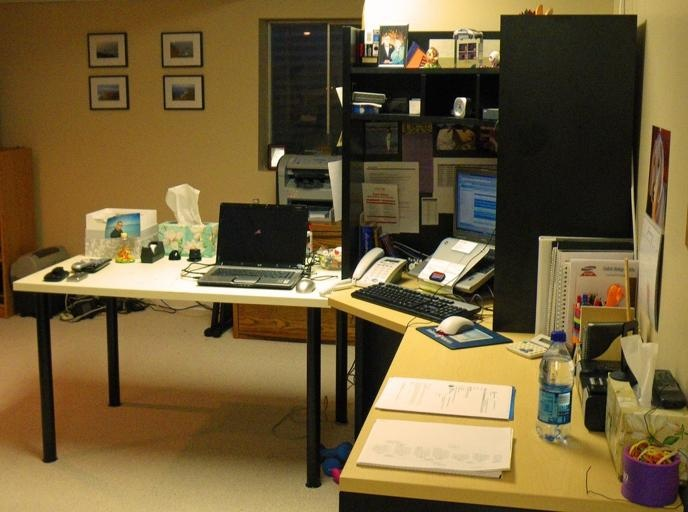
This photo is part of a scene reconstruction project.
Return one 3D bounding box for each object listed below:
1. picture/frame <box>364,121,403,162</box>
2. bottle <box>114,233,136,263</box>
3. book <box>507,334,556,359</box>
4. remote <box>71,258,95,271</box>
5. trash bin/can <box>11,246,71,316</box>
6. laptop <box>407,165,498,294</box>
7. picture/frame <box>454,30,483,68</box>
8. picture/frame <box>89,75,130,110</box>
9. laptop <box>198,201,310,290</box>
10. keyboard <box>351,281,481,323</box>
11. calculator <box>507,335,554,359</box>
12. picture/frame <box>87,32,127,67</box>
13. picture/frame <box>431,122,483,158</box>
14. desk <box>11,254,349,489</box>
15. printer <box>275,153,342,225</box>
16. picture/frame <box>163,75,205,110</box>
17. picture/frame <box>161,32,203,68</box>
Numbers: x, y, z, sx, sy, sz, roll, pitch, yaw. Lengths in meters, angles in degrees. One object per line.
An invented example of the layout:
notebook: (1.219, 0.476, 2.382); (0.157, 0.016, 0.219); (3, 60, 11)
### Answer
picture/frame: (0.217, -0.615, 3.110); (0.196, 0.210, 0.020); (1, 3, 5)
bottle: (-1.236, -0.046, 3.331); (0.141, 0.216, 0.154); (1, -1, 0)
book: (0.685, 0.326, 2.130); (0.107, 0.037, 0.084); (-7, 13, -33)
remote: (-1.385, 0.043, 3.117); (0.067, 0.038, 0.096); (2, 15, 3)
trash bin/can: (-2.648, 0.171, 5.159); (0.280, 0.470, 0.494); (1, 13, 4)
laptop: (0.542, -0.145, 2.773); (0.397, 0.503, 0.461); (9, 21, 34)
picture/frame: (0.562, -0.933, 2.653); (0.128, 0.164, 0.110); (2, 14, 5)
picture/frame: (-2.154, -1.528, 5.440); (0.298, 0.265, 0.023); (1, 9, 9)
laptop: (-0.453, -0.074, 3.231); (0.468, 0.335, 0.386); (3, -8, -12)
keyboard: (0.300, 0.198, 2.576); (0.559, 0.059, 0.229); (13, 19, 40)
calculator: (0.680, 0.328, 2.125); (0.103, 0.035, 0.080); (-6, 13, -35)
picture/frame: (-2.148, -1.901, 5.384); (0.298, 0.267, 0.025); (2, 12, 0)
picture/frame: (0.579, -0.591, 2.961); (0.166, 0.170, 0.019); (2, 15, 13)
desk: (-0.846, 0.521, 3.392); (1.662, 1.096, 1.095); (3, 9, 7)
printer: (-0.231, -0.535, 4.485); (0.461, 0.494, 0.439); (1, 2, 9)
picture/frame: (-1.428, -1.490, 5.308); (0.291, 0.249, 0.022); (0, 6, 7)
picture/frame: (-1.432, -1.857, 5.255); (0.286, 0.249, 0.028); (3, 8, 4)
